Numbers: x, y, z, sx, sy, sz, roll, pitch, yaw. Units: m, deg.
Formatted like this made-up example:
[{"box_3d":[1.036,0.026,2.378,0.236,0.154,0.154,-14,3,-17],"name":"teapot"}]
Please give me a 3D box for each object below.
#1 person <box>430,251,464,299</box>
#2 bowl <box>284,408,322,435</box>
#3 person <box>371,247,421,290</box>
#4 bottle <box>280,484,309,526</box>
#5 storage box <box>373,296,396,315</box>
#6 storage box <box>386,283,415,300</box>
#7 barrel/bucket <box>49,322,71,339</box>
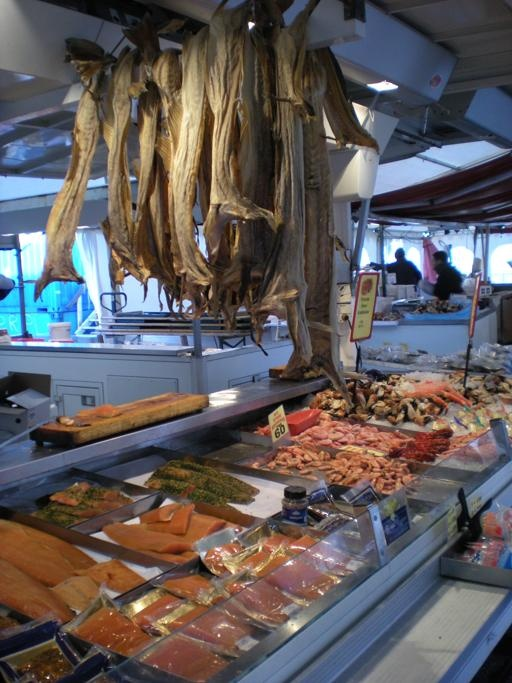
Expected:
[{"box_3d":[3.432,-1.202,8.604,0.515,0.883,0.827,2,8,22],"name":"person"},{"box_3d":[0.209,0.379,2.253,0.078,0.052,0.162,0,9,31],"name":"bowl"},{"box_3d":[3.174,-1.605,10.277,0.647,0.732,0.602,-2,8,-7],"name":"person"},{"box_3d":[0.107,0.451,1.321,0.090,0.131,0.090,1,-3,0],"name":"bottle"},{"box_3d":[1.922,-0.544,7.232,0.411,0.274,0.404,1,-3,2],"name":"storage box"},{"box_3d":[2.797,-0.960,9.298,0.765,0.276,0.284,-7,10,-40],"name":"storage box"},{"box_3d":[-2.409,-0.122,5.858,0.229,0.212,0.321,-4,8,-24],"name":"barrel/bucket"}]
